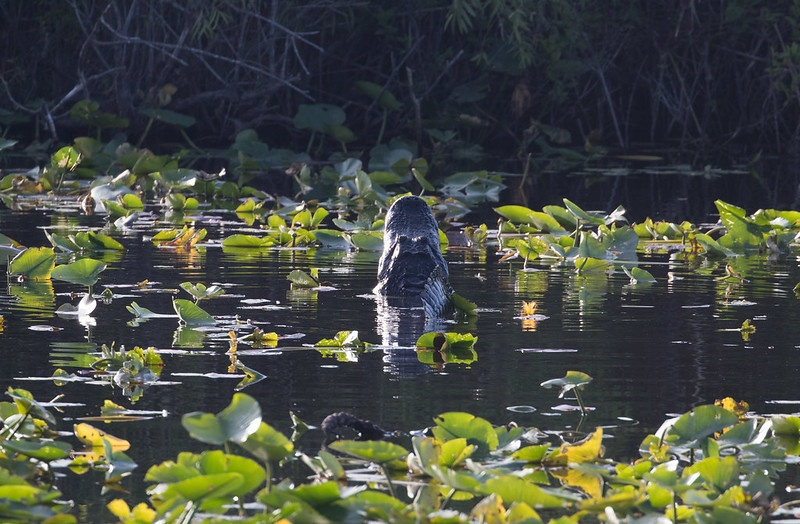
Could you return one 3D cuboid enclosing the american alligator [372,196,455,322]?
[{"bbox_3d":[0.068,0.006,13.320,0.473,0.438,1.159,0,33,-4],"label":"american alligator"}]
